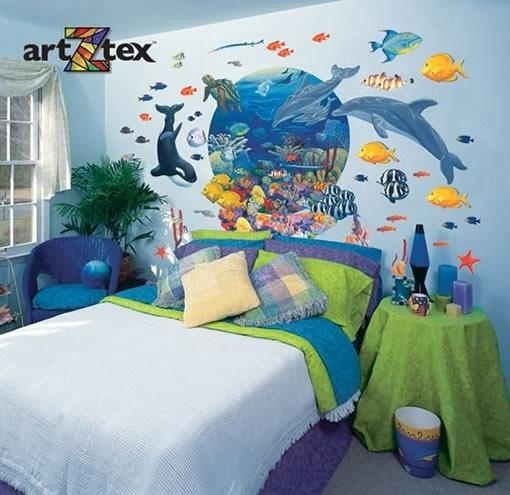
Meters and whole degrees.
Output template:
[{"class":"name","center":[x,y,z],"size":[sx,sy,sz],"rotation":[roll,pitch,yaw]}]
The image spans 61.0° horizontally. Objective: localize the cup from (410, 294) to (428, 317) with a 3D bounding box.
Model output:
[{"class":"cup","center":[0.885,0.312,2.333],"size":[0.110,0.116,0.068],"rotation":[-3,-10,32]}]

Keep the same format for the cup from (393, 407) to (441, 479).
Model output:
[{"class":"cup","center":[0.823,0.991,2.207],"size":[0.231,0.299,0.180],"rotation":[6,13,20]}]

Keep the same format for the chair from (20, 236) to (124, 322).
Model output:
[{"class":"chair","center":[-1.438,0.379,3.432],"size":[0.682,0.818,0.667],"rotation":[0,16,-22]}]

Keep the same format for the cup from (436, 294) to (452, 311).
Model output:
[{"class":"cup","center":[1.052,0.305,2.432],"size":[0.088,0.091,0.082],"rotation":[0,0,0]}]

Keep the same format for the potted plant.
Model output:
[{"class":"potted plant","center":[-1.408,-0.280,3.983],"size":[0.892,1.111,0.751],"rotation":[-9,-4,26]}]
